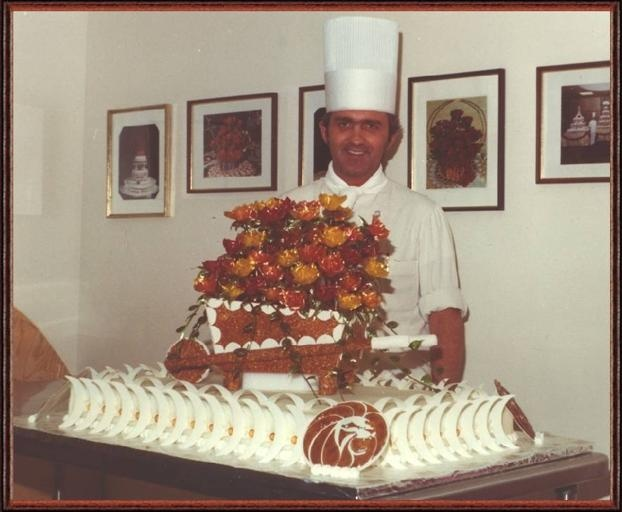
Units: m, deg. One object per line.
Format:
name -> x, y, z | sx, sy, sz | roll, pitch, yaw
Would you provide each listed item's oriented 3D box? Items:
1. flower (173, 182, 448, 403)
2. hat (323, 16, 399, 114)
flower -> -0.055, 0.150, 1.994 | 0.600, 0.467, 0.445 | -1, -13, 7
hat -> 0.142, -0.515, 2.205 | 0.216, 0.265, 0.231 | 2, 13, 1
